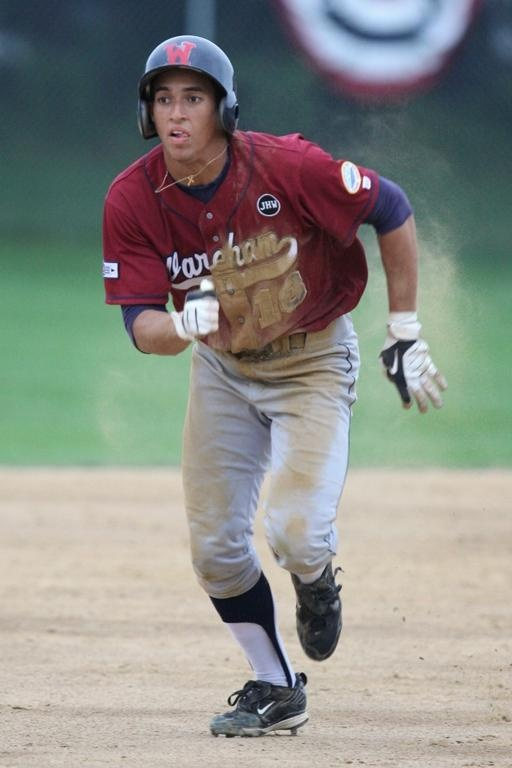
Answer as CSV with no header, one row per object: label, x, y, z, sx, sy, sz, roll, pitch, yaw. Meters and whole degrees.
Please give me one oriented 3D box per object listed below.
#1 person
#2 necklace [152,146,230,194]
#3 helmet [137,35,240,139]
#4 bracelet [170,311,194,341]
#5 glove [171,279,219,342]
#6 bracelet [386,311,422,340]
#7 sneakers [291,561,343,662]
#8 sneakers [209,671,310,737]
person,0.057,0.045,2.600,0.863,1.804,0.467,-2,14,-7
necklace,-0.156,-0.508,2.444,0.145,0.049,0.105,-34,-20,29
helmet,-0.177,-0.735,2.494,0.266,0.241,0.239,2,12,8
bracelet,-0.179,-0.143,2.362,0.038,0.069,0.049,-23,-13,-19
glove,-0.129,-0.165,2.367,0.142,0.123,0.055,-16,-19,30
bracelet,0.395,-0.154,2.712,0.088,0.075,0.077,-13,15,-21
sneakers,0.188,0.602,2.701,0.113,0.284,0.132,-3,12,22
sneakers,0.008,0.823,2.608,0.309,0.132,0.100,-2,-37,-14
